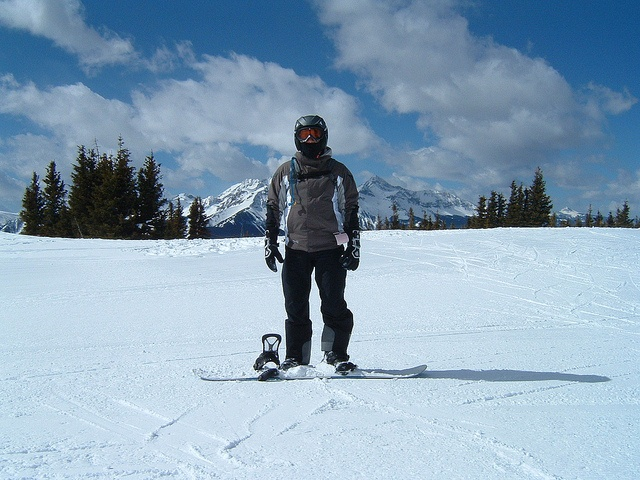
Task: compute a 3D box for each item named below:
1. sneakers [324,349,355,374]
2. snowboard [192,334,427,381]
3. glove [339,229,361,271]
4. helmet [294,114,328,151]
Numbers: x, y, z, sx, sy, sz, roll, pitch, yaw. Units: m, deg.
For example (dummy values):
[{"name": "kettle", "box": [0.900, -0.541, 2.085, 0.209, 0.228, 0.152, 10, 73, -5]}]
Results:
[{"name": "sneakers", "box": [0.228, 1.354, 5.250, 0.128, 0.159, 0.354, 8, -22, -19]}, {"name": "snowboard", "box": [-0.110, 1.260, 5.159, 2.383, 0.389, 0.672, -1, 1, -2]}, {"name": "glove", "box": [0.304, 0.137, 5.606, 0.328, 0.402, 0.172, -3, -3, -33]}, {"name": "helmet", "box": [-0.113, -1.279, 5.707, 0.416, 0.436, 0.485, -2, 9, 3]}]
